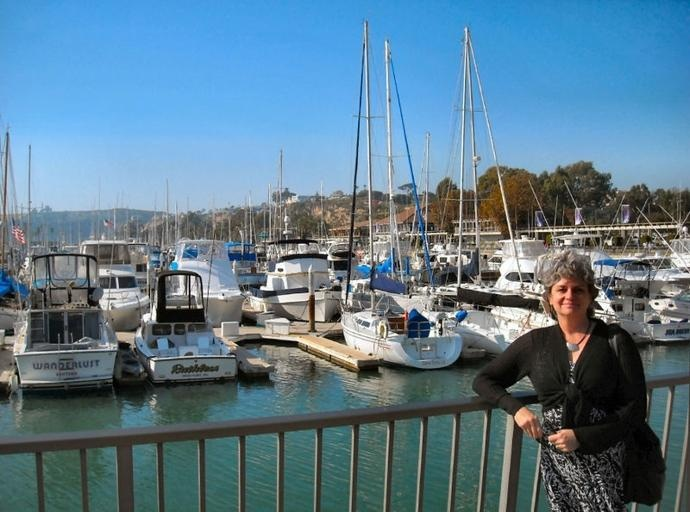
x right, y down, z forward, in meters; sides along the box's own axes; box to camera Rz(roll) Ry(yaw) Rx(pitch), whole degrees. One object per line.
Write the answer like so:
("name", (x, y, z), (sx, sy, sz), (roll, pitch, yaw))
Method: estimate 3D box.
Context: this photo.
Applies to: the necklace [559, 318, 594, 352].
("necklace", (1.739, 0.606, 4.664), (0.152, 0.223, 0.060), (15, -28, 15))
